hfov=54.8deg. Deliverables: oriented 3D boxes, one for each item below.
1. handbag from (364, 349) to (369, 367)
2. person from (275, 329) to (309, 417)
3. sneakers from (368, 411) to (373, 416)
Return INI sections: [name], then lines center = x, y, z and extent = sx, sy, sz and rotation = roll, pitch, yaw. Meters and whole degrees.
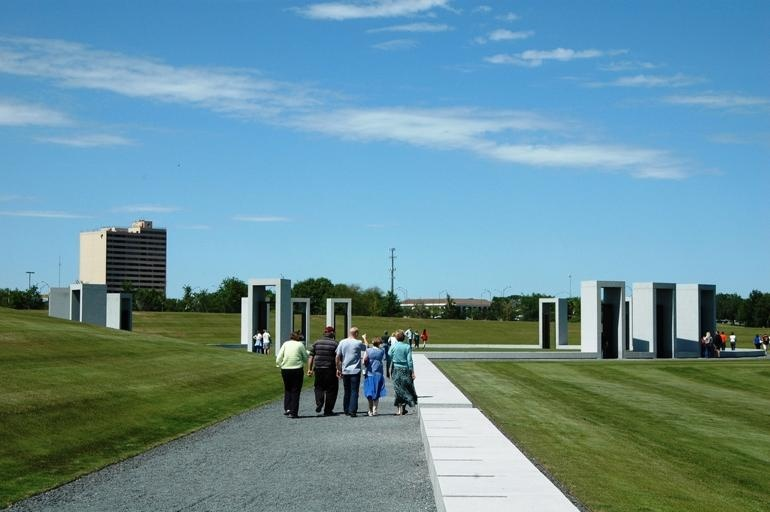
[handbag]
center = -0.614, 3.132, 22.808
extent = 0.128, 0.343, 0.249
rotation = 4, 2, 7
[person]
center = -2.843, 3.571, 22.799
extent = 0.927, 2.593, 1.221
rotation = 0, -4, -7
[sneakers]
center = -0.472, 4.839, 22.912
extent = 0.155, 0.146, 0.111
rotation = 0, -6, -1
